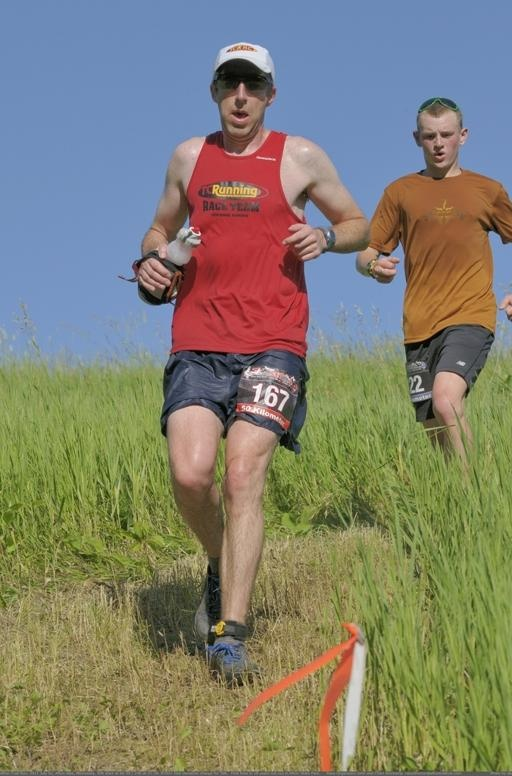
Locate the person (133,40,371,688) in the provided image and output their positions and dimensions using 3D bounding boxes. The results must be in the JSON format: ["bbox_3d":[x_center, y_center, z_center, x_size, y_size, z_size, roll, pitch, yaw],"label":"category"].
[{"bbox_3d":[-0.160,-0.160,3.193,0.840,1.791,0.871,7,3,8],"label":"person"}]

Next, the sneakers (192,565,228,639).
[{"bbox_3d":[-0.174,0.866,3.388,0.099,0.304,0.125,8,-23,-18],"label":"sneakers"}]

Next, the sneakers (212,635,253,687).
[{"bbox_3d":[-0.074,0.916,2.833,0.107,0.134,0.209,-2,-7,-14],"label":"sneakers"}]
